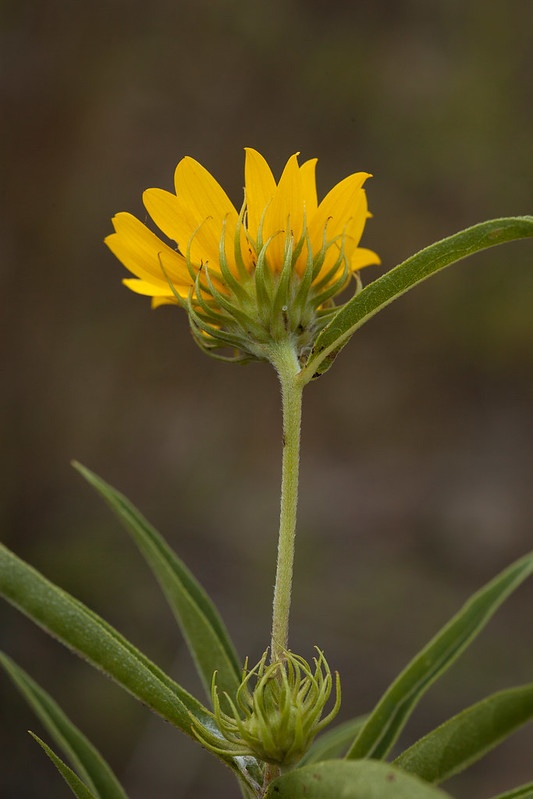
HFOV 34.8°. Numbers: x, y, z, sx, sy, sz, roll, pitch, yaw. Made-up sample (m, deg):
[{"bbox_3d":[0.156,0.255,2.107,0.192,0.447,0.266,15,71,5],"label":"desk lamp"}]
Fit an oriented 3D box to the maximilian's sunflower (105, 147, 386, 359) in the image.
[{"bbox_3d":[-0.014,-0.108,0.630,0.186,0.090,0.202,-26,-21,26],"label":"maximilian's sunflower"}]
